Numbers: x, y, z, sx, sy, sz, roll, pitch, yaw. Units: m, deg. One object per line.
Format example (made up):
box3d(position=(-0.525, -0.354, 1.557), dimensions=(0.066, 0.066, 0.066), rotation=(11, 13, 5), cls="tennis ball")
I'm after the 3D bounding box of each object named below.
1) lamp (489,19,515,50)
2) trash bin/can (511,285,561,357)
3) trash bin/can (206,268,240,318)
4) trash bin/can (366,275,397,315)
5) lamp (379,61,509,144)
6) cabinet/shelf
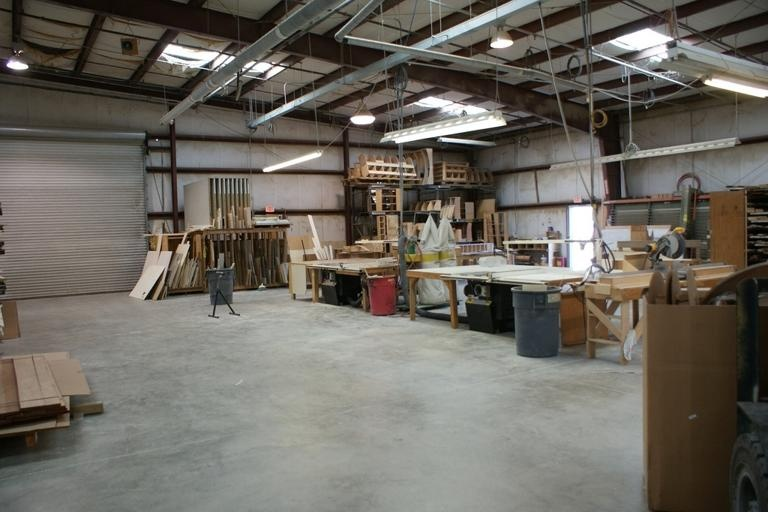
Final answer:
box3d(position=(1.978, -3.785, 8.983), dimensions=(0.304, 0.382, 0.539), rotation=(0, 10, 15), cls="lamp")
box3d(position=(2.004, 0.904, 7.376), dimensions=(0.823, 1.085, 0.849), rotation=(-3, 0, 22), cls="trash bin/can")
box3d(position=(-3.379, 0.702, 10.980), dimensions=(0.564, 0.944, 1.677), rotation=(-6, 10, -17), cls="trash bin/can")
box3d(position=(-0.035, 0.751, 9.724), dimensions=(0.646, 0.669, 0.642), rotation=(0, -2, -24), cls="trash bin/can")
box3d(position=(1.389, -3.833, 12.838), dimensions=(0.504, 0.197, 2.846), rotation=(21, -25, -38), cls="lamp")
box3d(position=(2.076, -1.487, 16.272), dimensions=(4.014, 3.816, 1.293), rotation=(-2, 2, -24), cls="cabinet/shelf")
